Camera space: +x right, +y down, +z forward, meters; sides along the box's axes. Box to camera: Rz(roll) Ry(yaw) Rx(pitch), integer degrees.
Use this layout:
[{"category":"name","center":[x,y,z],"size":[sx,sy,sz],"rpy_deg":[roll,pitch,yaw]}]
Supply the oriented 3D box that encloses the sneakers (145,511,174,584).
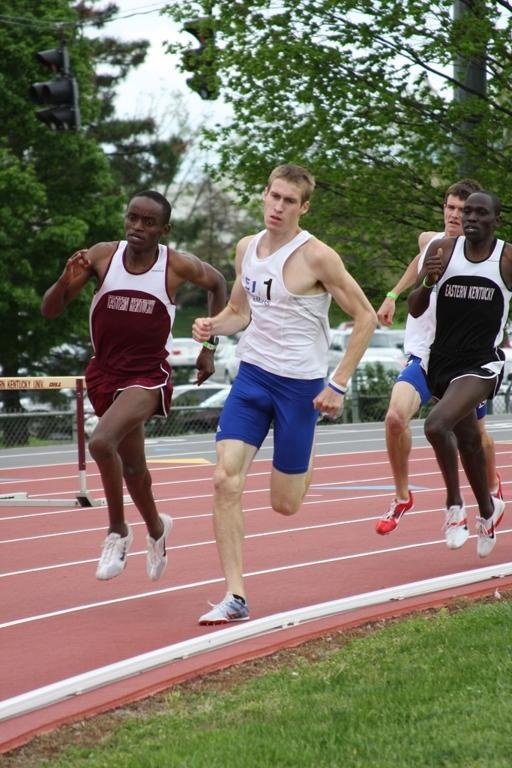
[{"category":"sneakers","center":[-0.605,0.923,4.505],"size":[0.155,0.399,0.183],"rpy_deg":[1,-1,30]}]

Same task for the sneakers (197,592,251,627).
[{"category":"sneakers","center":[-0.140,1.064,3.716],"size":[0.288,0.130,0.118],"rpy_deg":[-1,-3,-12]}]

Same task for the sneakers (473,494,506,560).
[{"category":"sneakers","center":[1.417,0.865,4.936],"size":[0.172,0.443,0.233],"rpy_deg":[4,-12,43]}]

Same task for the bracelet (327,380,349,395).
[{"category":"bracelet","center":[0.376,0.017,3.615],"size":[0.080,0.039,0.067],"rpy_deg":[26,0,2]}]

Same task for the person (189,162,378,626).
[{"category":"person","center":[0.123,0.001,3.828],"size":[0.972,2.274,0.637],"rpy_deg":[-6,-3,7]}]

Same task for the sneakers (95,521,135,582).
[{"category":"sneakers","center":[-0.749,0.857,4.127],"size":[0.129,0.344,0.138],"rpy_deg":[8,-40,16]}]

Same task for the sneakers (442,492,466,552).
[{"category":"sneakers","center":[1.176,0.832,4.734],"size":[0.117,0.138,0.314],"rpy_deg":[-25,17,25]}]

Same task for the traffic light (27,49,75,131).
[{"category":"traffic light","center":[-3.116,-4.626,11.987],"size":[0.716,1.320,0.778],"rpy_deg":[-4,-3,-12]}]
